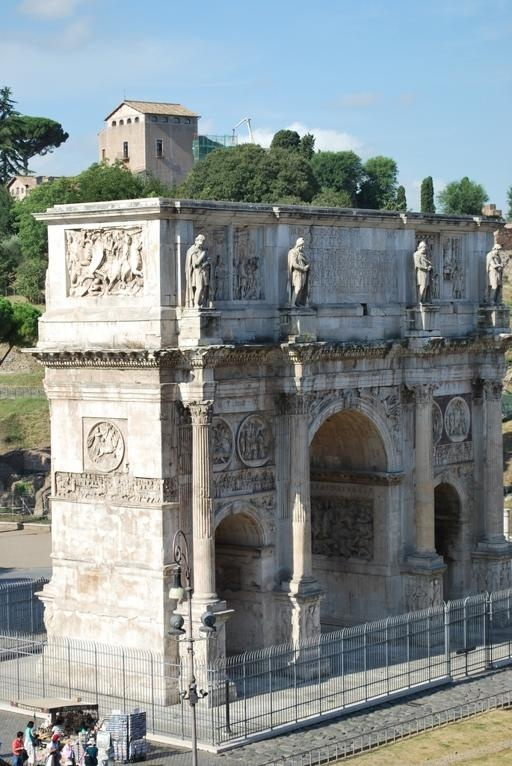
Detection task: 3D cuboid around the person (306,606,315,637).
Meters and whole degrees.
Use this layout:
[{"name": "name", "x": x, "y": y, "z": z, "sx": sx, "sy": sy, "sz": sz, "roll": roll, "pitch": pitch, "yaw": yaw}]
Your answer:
[{"name": "person", "x": 1.441, "y": 6.268, "z": 57.272, "sx": 0.184, "sy": 0.829, "sz": 0.517, "roll": -3, "pitch": -2, "yaw": 24}]

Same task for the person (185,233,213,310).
[{"name": "person", "x": -1.521, "y": -2.804, "z": 53.644, "sx": 0.648, "sy": 1.852, "sz": 0.613, "roll": -2, "pitch": -2, "yaw": 1}]

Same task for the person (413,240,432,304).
[{"name": "person", "x": 4.768, "y": -3.230, "z": 62.012, "sx": 0.502, "sy": 1.842, "sz": 0.637, "roll": -2, "pitch": -2, "yaw": 3}]

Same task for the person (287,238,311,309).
[{"name": "person", "x": 1.089, "y": -2.964, "z": 57.160, "sx": 0.570, "sy": 1.820, "sz": 0.587, "roll": -2, "pitch": -2, "yaw": 1}]

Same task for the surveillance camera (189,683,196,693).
[{"name": "surveillance camera", "x": -1.421, "y": 6.707, "z": 47.592, "sx": 0.115, "sy": 0.245, "sz": 0.186, "roll": -10, "pitch": -14, "yaw": 37}]

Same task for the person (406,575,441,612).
[{"name": "person", "x": 4.786, "y": 5.972, "z": 61.669, "sx": 1.016, "sy": 0.978, "sz": 0.775, "roll": -3, "pitch": -2, "yaw": 3}]

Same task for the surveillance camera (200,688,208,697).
[{"name": "surveillance camera", "x": -1.251, "y": 7.123, "z": 49.753, "sx": 0.167, "sy": 0.259, "sz": 0.562, "roll": 3, "pitch": -11, "yaw": -2}]
